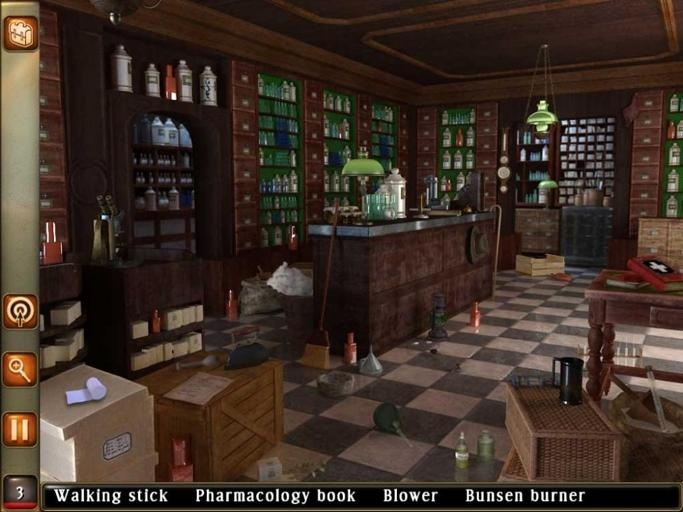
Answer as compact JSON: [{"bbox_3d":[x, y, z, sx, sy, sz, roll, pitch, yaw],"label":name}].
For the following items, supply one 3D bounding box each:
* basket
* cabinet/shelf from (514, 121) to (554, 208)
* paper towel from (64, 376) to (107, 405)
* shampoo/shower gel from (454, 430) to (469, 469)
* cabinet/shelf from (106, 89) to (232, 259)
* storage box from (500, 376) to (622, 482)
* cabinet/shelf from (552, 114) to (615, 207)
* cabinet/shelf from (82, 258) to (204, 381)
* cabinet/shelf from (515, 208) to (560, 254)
[{"bbox_3d":[1.239,0.765,2.809,0.475,0.266,0.914,0,8,6],"label":"basket"},{"bbox_3d":[4.744,-2.257,12.390,0.967,1.977,0.575,0,9,21],"label":"cabinet/shelf"},{"bbox_3d":[-1.273,0.654,2.514,0.143,0.050,0.131,-2,9,-30],"label":"paper towel"},{"bbox_3d":[0.799,1.218,3.381,0.091,0.266,0.346,-2,8,12],"label":"shampoo/shower gel"},{"bbox_3d":[-2.145,-0.949,6.547,0.548,2.116,1.836,0,9,25],"label":"cabinet/shelf"},{"bbox_3d":[1.182,0.942,2.776,0.556,0.166,0.543,0,15,6],"label":"storage box"},{"bbox_3d":[5.753,-2.266,12.009,1.170,1.970,0.323,-1,9,20],"label":"cabinet/shelf"},{"bbox_3d":[-1.857,0.401,4.968,0.896,1.205,1.266,3,3,28],"label":"cabinet/shelf"},{"bbox_3d":[4.641,-0.633,11.977,1.090,0.962,0.392,2,5,29],"label":"cabinet/shelf"}]
